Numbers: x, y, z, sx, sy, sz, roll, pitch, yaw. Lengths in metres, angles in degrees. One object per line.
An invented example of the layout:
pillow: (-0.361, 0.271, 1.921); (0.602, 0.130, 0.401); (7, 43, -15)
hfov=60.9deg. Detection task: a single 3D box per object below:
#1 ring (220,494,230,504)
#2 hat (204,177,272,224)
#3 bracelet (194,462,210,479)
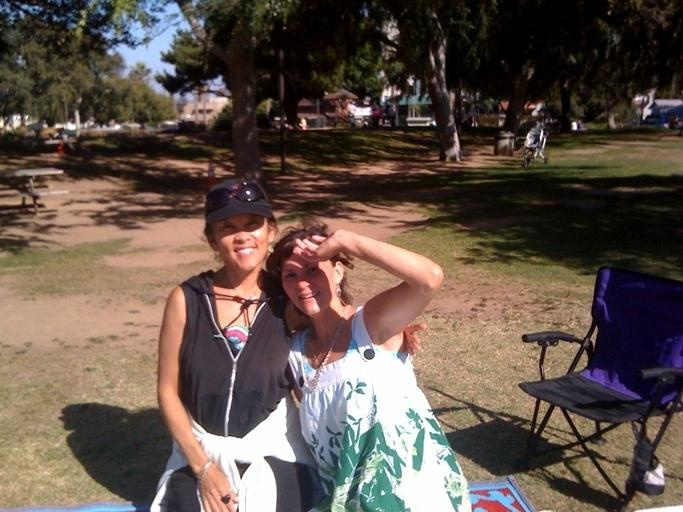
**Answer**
ring: (-0.626, 1.308, 3.146); (0.050, 0.045, 0.013); (-1, 11, -8)
hat: (-0.621, -0.301, 3.525); (0.347, 0.269, 0.548); (-10, 4, -16)
bracelet: (-0.767, 1.173, 3.223); (0.102, 0.034, 0.058); (-49, 30, -11)
